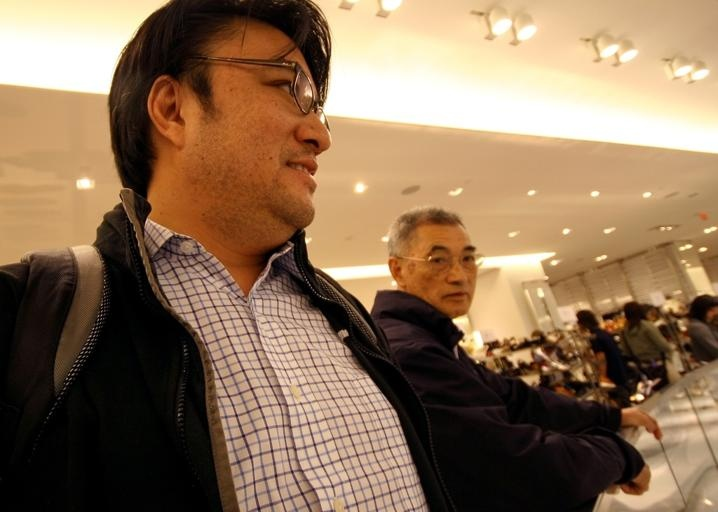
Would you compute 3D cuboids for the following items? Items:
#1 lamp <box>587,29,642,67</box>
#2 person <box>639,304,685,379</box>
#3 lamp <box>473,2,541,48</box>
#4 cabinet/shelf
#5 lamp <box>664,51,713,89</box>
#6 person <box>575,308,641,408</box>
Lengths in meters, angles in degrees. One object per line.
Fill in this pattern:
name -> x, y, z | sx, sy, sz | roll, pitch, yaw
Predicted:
lamp -> 2.709, -2.228, 5.204 | 0.343, 0.152, 0.519 | 6, 2, -22
person -> 3.740, 1.117, 5.912 | 0.304, 1.159, 0.269 | -22, 22, 47
lamp -> 1.283, -2.112, 4.452 | 0.739, 0.194, 0.366 | -2, -12, -31
cabinet/shelf -> 2.588, 1.531, 7.027 | 1.665, 0.416, 1.095 | -12, 13, 11
lamp -> 4.073, -2.308, 6.047 | 0.589, 0.187, 0.348 | 7, -29, -15
person -> 2.695, 1.106, 5.233 | 0.432, 0.335, 0.931 | -18, 32, 10
